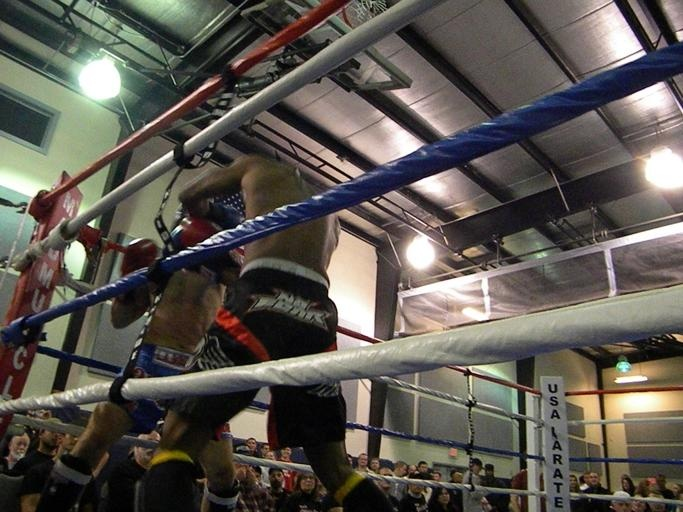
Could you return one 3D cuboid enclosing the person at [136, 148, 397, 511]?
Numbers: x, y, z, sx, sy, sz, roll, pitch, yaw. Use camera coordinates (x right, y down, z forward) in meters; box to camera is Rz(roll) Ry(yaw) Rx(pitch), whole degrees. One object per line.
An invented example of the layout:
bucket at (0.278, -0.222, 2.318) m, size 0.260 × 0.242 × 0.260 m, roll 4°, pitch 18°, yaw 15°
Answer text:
person at (-0.211, 0.238, 1.845) m, size 0.837 × 1.220 × 0.372 m, roll 27°, pitch -37°, yaw -29°
